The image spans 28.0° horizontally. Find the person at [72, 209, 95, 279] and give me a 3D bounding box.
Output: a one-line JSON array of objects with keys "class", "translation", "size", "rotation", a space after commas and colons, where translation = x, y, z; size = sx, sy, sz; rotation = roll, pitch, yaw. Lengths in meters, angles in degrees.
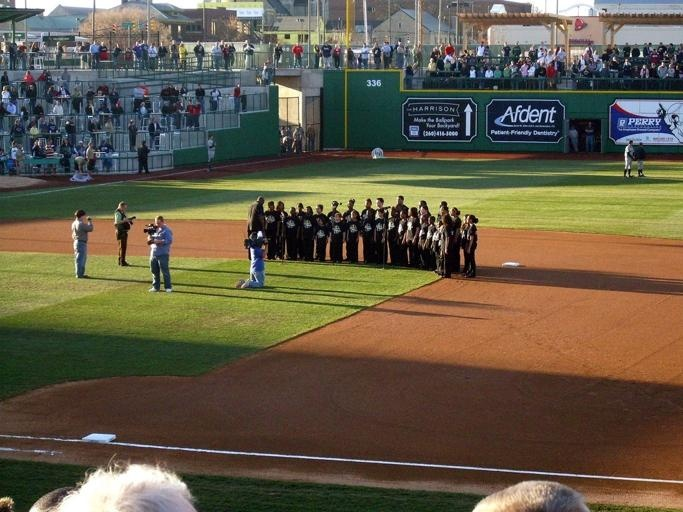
[{"class": "person", "translation": [-8.455, -0.476, 44.904], "size": [0.600, 2.181, 1.265], "rotation": [-3, 13, -11]}]

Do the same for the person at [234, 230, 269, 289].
[{"class": "person", "translation": [-2.871, 0.078, 44.049], "size": [0.776, 1.743, 1.167], "rotation": [-1, 13, -3]}]

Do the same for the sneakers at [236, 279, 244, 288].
[{"class": "sneakers", "translation": [-3.236, 0.900, 43.830], "size": [0.282, 0.179, 0.446], "rotation": [0, 13, -2]}]
